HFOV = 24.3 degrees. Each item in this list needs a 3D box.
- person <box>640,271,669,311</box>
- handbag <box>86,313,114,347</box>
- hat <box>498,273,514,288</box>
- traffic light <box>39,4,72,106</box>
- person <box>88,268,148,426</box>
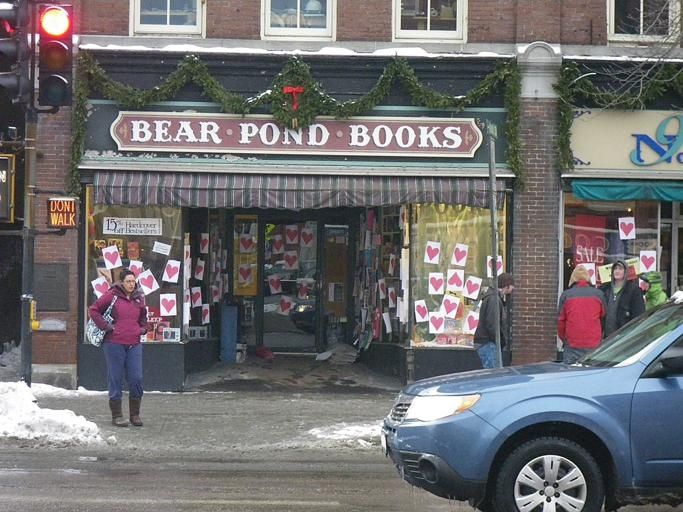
[{"bbox_3d":[5.249,0.541,26.501,0.567,0.910,0.893,-1,4,7],"label":"person"},{"bbox_3d":[-3.771,1.111,24.373,0.394,0.501,0.200,1,8,14],"label":"handbag"},{"bbox_3d":[2.558,0.339,24.468,0.173,0.238,0.226,5,-17,16],"label":"hat"},{"bbox_3d":[-4.330,-3.097,23.822,0.555,1.583,0.330,-3,8,-11],"label":"traffic light"},{"bbox_3d":[-3.428,1.436,24.517,0.935,2.428,0.527,-5,9,-22],"label":"person"}]
